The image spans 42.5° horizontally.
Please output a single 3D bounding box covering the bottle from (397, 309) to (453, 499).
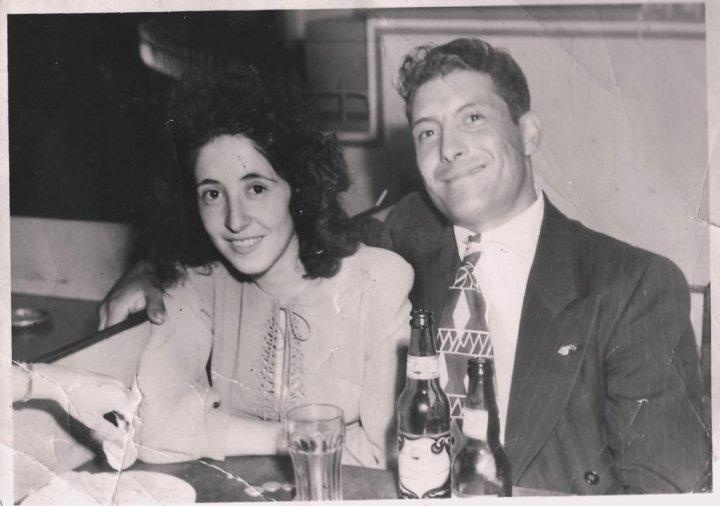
[{"bbox_3d":[0.177,0.416,2.538,0.156,0.434,0.089,0,0,1],"label":"bottle"}]

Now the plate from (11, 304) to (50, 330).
[{"bbox_3d":[-0.923,0.181,2.602,0.080,0.035,0.066,8,-38,2],"label":"plate"}]

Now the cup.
[{"bbox_3d":[-0.106,0.552,2.642,0.227,0.354,0.220,-1,-3,0],"label":"cup"}]

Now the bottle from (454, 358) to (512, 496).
[{"bbox_3d":[0.331,0.477,2.529,0.162,0.311,0.088,0,0,8],"label":"bottle"}]
